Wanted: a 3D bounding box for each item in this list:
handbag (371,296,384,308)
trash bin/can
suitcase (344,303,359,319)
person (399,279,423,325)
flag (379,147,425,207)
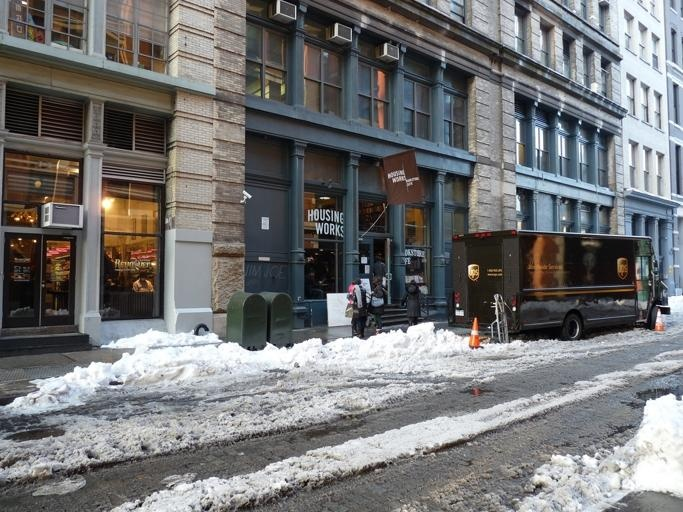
[{"bbox_3d":[1.175,1.519,18.807,0.287,0.402,0.528,-9,-10,40],"label":"handbag"},{"bbox_3d":[-2.097,1.664,14.742,1.665,1.410,1.092,-1,5,-16],"label":"trash bin/can"},{"bbox_3d":[0.326,1.732,18.012,0.251,0.657,0.612,7,-12,-37],"label":"suitcase"},{"bbox_3d":[2.324,1.580,19.178,0.623,1.573,1.604,1,5,6],"label":"person"},{"bbox_3d":[2.180,-2.958,21.389,2.105,2.857,0.245,-7,-1,39],"label":"flag"}]
